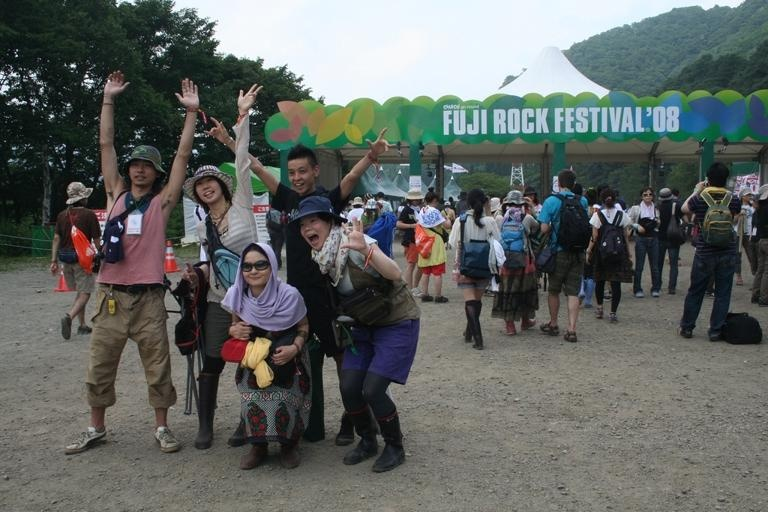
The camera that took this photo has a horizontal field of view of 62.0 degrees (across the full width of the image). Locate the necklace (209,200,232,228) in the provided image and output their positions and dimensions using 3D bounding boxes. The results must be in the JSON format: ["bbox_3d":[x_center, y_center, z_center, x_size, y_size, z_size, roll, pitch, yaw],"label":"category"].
[{"bbox_3d":[-1.552,-0.393,6.260,0.172,0.237,0.142,-33,-17,8],"label":"necklace"}]

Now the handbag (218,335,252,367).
[{"bbox_3d":[-1.339,0.855,5.796,0.288,0.265,0.139,10,3,-30],"label":"handbag"}]

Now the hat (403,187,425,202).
[{"bbox_3d":[0.616,-1.206,12.661,0.348,0.145,0.341,-1,-1,4],"label":"hat"}]

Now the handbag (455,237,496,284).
[{"bbox_3d":[1.209,0.081,8.940,0.675,0.808,0.456,1,-18,0],"label":"handbag"}]

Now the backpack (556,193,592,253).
[{"bbox_3d":[2.581,-0.438,8.842,0.483,0.762,0.487,2,14,12],"label":"backpack"}]

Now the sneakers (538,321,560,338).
[{"bbox_3d":[2.389,1.071,9.225,0.157,0.143,0.280,1,8,-4],"label":"sneakers"}]

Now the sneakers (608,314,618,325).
[{"bbox_3d":[3.513,0.989,9.856,0.100,0.114,0.275,-4,-13,17],"label":"sneakers"}]

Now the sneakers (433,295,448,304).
[{"bbox_3d":[1.038,0.807,11.794,0.226,0.099,0.115,-1,-1,7],"label":"sneakers"}]

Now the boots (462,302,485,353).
[{"bbox_3d":[1.236,0.918,8.782,0.266,0.637,0.574,1,13,7],"label":"boots"}]

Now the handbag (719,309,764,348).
[{"bbox_3d":[4.753,0.975,8.566,0.407,0.358,0.528,-4,-6,28],"label":"handbag"}]

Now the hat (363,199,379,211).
[{"bbox_3d":[-0.337,-1.670,20.129,0.458,0.570,0.573,-2,2,-3],"label":"hat"}]

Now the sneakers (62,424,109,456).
[{"bbox_3d":[-2.779,1.743,6.062,0.153,0.198,0.453,4,6,42],"label":"sneakers"}]

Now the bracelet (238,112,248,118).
[{"bbox_3d":[-1.389,-1.410,6.365,0.085,0.052,0.111,-7,-3,-15],"label":"bracelet"}]

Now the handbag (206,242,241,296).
[{"bbox_3d":[-1.505,0.117,6.068,0.310,0.364,0.395,3,-8,-36],"label":"handbag"}]

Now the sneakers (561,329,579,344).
[{"bbox_3d":[2.578,1.129,8.895,0.185,0.177,0.427,0,3,8],"label":"sneakers"}]

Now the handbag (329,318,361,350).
[{"bbox_3d":[-0.352,0.707,5.869,0.277,0.331,0.276,0,3,5],"label":"handbag"}]

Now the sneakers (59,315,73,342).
[{"bbox_3d":[-4.601,1.042,9.257,0.154,0.398,0.183,-3,1,-3],"label":"sneakers"}]

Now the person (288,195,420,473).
[{"bbox_3d":[-0.227,0.682,5.780,0.945,2.391,0.630,4,14,21],"label":"person"}]

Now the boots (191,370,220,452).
[{"bbox_3d":[-1.695,1.444,6.117,0.263,0.705,0.361,-4,14,-13],"label":"boots"}]

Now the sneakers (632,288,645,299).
[{"bbox_3d":[4.768,0.716,12.038,0.157,0.133,0.341,-3,-5,10],"label":"sneakers"}]

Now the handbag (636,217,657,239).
[{"bbox_3d":[4.874,-0.516,11.851,0.304,0.356,0.330,-10,-6,33],"label":"handbag"}]

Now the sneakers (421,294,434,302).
[{"bbox_3d":[0.801,0.792,11.925,0.216,0.086,0.114,-1,4,0],"label":"sneakers"}]

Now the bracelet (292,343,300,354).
[{"bbox_3d":[-0.779,0.824,5.731,0.055,0.033,0.071,1,14,-3],"label":"bracelet"}]

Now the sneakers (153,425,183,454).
[{"bbox_3d":[-2.037,1.739,6.079,0.140,0.146,0.373,-8,2,-30],"label":"sneakers"}]

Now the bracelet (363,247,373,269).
[{"bbox_3d":[-0.131,0.009,5.591,0.045,0.151,0.112,12,-10,16],"label":"bracelet"}]

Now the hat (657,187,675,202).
[{"bbox_3d":[5.452,-1.208,12.461,0.263,0.139,0.368,-20,16,22],"label":"hat"}]

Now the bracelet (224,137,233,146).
[{"bbox_3d":[-1.518,-1.132,6.329,0.082,0.075,0.080,-2,0,-41],"label":"bracelet"}]

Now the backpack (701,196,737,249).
[{"bbox_3d":[4.511,-0.492,8.657,0.422,0.738,0.381,2,14,10],"label":"backpack"}]

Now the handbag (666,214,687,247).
[{"bbox_3d":[5.240,-0.463,11.558,0.275,0.587,0.604,-8,-7,27],"label":"handbag"}]

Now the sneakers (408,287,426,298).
[{"bbox_3d":[0.630,0.711,12.183,0.327,0.141,0.117,2,2,-14],"label":"sneakers"}]

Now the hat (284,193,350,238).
[{"bbox_3d":[-0.550,-0.405,5.842,0.338,0.147,0.379,-15,-28,16],"label":"hat"}]

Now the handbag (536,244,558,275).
[{"bbox_3d":[2.250,0.049,8.843,0.194,0.294,0.345,20,15,-8],"label":"handbag"}]

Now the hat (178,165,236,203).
[{"bbox_3d":[-1.709,-0.821,6.283,0.417,0.207,0.403,1,-34,-28],"label":"hat"}]

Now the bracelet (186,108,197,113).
[{"bbox_3d":[-1.873,-1.435,6.309,0.066,0.047,0.064,0,-2,17],"label":"bracelet"}]

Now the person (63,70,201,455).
[{"bbox_3d":[-2.402,-0.006,6.201,1.201,3.512,1.328,-1,13,0],"label":"person"}]

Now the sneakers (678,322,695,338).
[{"bbox_3d":[4.186,1.058,8.910,0.109,0.196,0.274,0,10,11],"label":"sneakers"}]

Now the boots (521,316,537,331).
[{"bbox_3d":[2.138,1.011,9.523,0.222,0.205,0.100,-29,38,-28],"label":"boots"}]

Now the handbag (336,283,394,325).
[{"bbox_3d":[-0.151,0.438,5.652,0.347,0.196,0.427,-20,8,10],"label":"handbag"}]

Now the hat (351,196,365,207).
[{"bbox_3d":[-0.769,-1.605,18.365,0.414,0.187,0.529,-3,-1,-3],"label":"hat"}]
